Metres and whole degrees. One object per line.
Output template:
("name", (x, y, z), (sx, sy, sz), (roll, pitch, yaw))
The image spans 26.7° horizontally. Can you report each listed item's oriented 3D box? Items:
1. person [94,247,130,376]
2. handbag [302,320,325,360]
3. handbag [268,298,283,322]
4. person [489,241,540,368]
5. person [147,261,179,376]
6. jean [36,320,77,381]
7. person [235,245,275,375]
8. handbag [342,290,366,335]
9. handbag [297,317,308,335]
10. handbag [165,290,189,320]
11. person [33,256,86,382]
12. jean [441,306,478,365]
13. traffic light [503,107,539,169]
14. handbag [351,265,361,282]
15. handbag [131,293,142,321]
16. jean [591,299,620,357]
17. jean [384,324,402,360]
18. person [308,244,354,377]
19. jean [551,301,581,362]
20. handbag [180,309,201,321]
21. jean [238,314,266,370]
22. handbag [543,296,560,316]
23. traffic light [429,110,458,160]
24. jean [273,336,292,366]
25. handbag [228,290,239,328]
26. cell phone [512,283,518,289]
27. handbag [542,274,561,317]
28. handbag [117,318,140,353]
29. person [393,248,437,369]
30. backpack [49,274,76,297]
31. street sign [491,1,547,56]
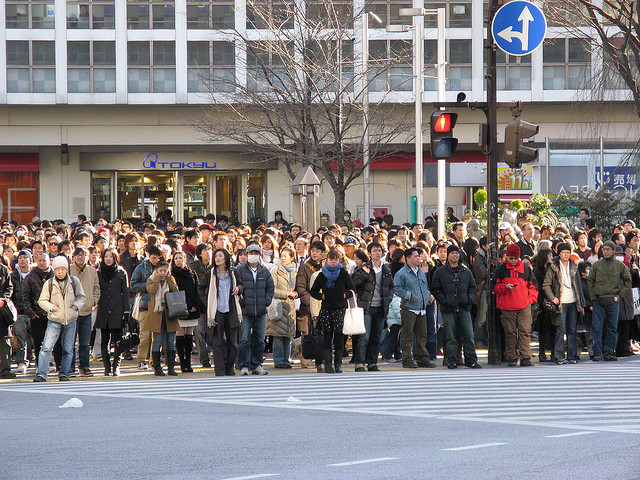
("person", (-4.552, 1.593, 29.531), (0.767, 2.740, 0.781), (-2, 10, -8))
("handbag", (-0.135, 2.343, 29.338), (0.466, 0.648, 0.427), (-1, 10, -2))
("handbag", (-0.988, 1.583, 29.819), (0.447, 0.625, 0.322), (4, -14, -9))
("person", (4.332, 1.495, 29.947), (1.013, 2.773, 0.835), (1, 10, 8))
("person", (-3.384, 1.741, 29.218), (0.651, 2.535, 0.485), (-2, 10, -7))
("jean", (-5.616, 2.150, 29.049), (0.723, 2.154, 0.499), (4, 34, -20))
("person", (-1.397, 1.551, 29.394), (0.801, 2.783, 0.622), (-1, 10, -4))
("handbag", (0.774, 1.610, 29.245), (0.471, 0.974, 0.554), (2, 10, 14))
("handbag", (-0.365, 1.915, 30.077), (0.139, 0.386, 0.468), (-3, 11, -15))
("handbag", (-3.104, 1.420, 29.012), (0.508, 0.607, 0.240), (-11, -15, -21))
("person", (-5.592, 1.718, 28.996), (1.102, 2.615, 0.616), (-3, 10, -15))
("jean", (3.101, 2.125, 29.916), (0.657, 1.427, 0.420), (-1, -31, 1))
("traffic light", (4.524, -2.268, 29.944), (0.704, 1.346, 0.518), (4, 13, 12))
("handbag", (0.795, 0.773, 29.881), (0.148, 0.304, 0.229), (13, -16, 2))
("handbag", (-3.993, 1.474, 29.356), (0.249, 0.599, 0.187), (8, 13, 40))
("jean", (6.585, 2.037, 30.845), (0.637, 1.347, 0.402), (-1, 10, -2))
("jean", (1.694, 2.343, 31.063), (0.380, 0.987, 1.044), (0, 10, 2))
("person", (0.284, 1.584, 29.274), (0.884, 2.740, 0.511), (0, 10, 1))
("jean", (5.586, 2.094, 30.381), (0.604, 1.294, 0.278), (-7, 12, -32))
("handbag", (-2.742, 1.632, 29.336), (0.385, 0.210, 0.254), (-3, -3, -23))
("jean", (-1.468, 2.249, 29.491), (0.643, 1.252, 0.387), (-2, 10, -9))
("handbag", (5.241, 1.479, 30.271), (0.179, 0.329, 0.350), (-28, 22, -20))
("traffic light", (2.794, -2.345, 30.246), (0.592, 1.089, 0.591), (-1, 10, -1))
("jean", (-0.839, 2.503, 30.377), (0.394, 0.708, 0.319), (-1, 10, -3))
("handbag", (-1.849, 1.525, 29.106), (0.207, 0.773, 0.191), (-1, 10, -5))
("cell phone", (4.329, 1.043, 29.764), (0.128, 0.127, 0.034), (7, 1, 20))
("handbag", (5.266, 1.346, 30.263), (0.426, 0.720, 0.270), (20, 10, 25))
("handbag", (-4.181, 2.137, 29.449), (0.461, 0.765, 0.710), (-1, 10, -5))
("person", (2.082, 1.556, 29.752), (0.863, 2.676, 0.498), (-1, 10, -1))
("backpack", (-5.541, 0.980, 28.938), (0.469, 0.459, 0.345), (0, -5, 9))
("street sign", (4.418, -4.703, 29.924), (1.170, 1.150, 0.388), (1, 10, 5))
